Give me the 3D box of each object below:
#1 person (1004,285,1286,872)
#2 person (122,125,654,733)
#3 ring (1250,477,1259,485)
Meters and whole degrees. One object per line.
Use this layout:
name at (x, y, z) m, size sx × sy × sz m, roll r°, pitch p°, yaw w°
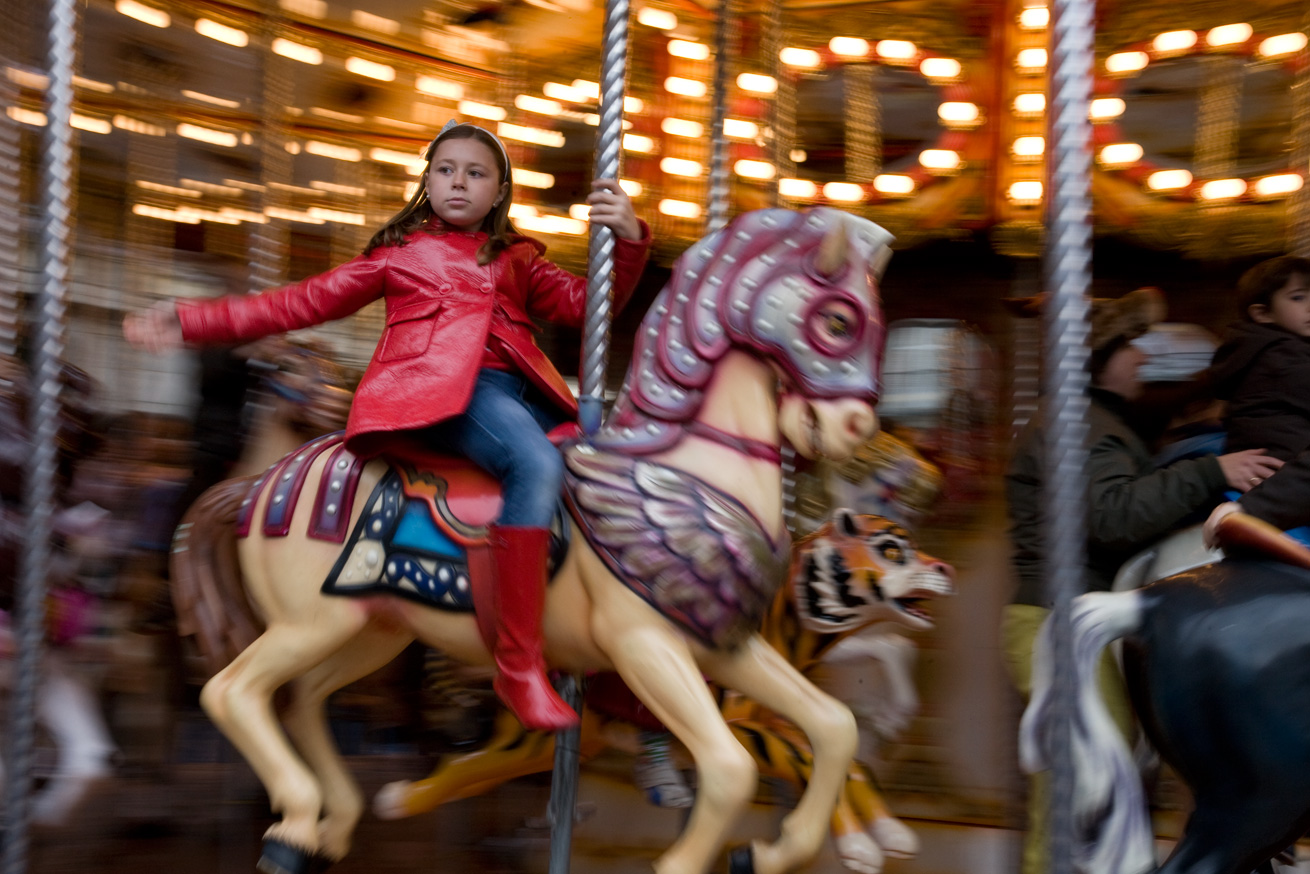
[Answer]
person at (1.637, 0.507, 4.637) m, size 0.833 × 2.101 × 1.392 m, roll 6°, pitch 5°, yaw 14°
person at (-0.732, -0.098, 4.335) m, size 1.283 × 1.865 × 0.578 m, roll 6°, pitch 5°, yaw 15°
ring at (1.989, 0.143, 4.355) m, size 0.015 × 0.021 × 0.006 m, roll 21°, pitch -26°, yaw 50°
